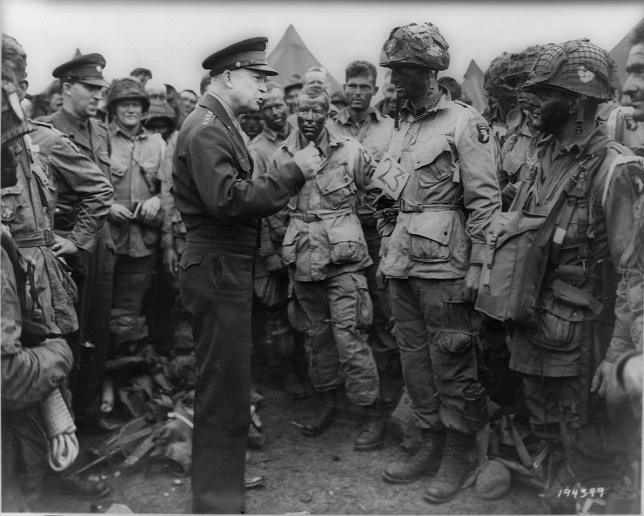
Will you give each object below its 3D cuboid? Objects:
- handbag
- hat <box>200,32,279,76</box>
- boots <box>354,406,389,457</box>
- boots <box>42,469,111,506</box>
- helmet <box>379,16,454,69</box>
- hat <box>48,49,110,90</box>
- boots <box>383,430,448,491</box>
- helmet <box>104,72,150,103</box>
[{"bbox_3d":[1.135,0.028,4.259,0.360,0.659,0.269,15,21,39],"label":"handbag"},{"bbox_3d":[-0.536,-1.275,4.564,0.510,0.206,0.414,-5,9,6],"label":"hat"},{"bbox_3d":[0.367,1.267,5.490,0.203,0.303,0.515,-3,10,24],"label":"boots"},{"bbox_3d":[-1.619,1.514,4.797,0.497,0.185,0.163,1,3,-5],"label":"boots"},{"bbox_3d":[0.625,-1.405,4.820,0.485,0.315,0.363,1,11,-20],"label":"helmet"},{"bbox_3d":[-1.887,-1.468,5.646,0.499,0.227,0.408,1,11,22],"label":"hat"},{"bbox_3d":[0.649,1.371,4.991,0.599,0.344,0.207,0,4,-34],"label":"boots"},{"bbox_3d":[-1.671,-1.436,6.173,0.276,0.187,0.273,-8,15,-35],"label":"helmet"}]
